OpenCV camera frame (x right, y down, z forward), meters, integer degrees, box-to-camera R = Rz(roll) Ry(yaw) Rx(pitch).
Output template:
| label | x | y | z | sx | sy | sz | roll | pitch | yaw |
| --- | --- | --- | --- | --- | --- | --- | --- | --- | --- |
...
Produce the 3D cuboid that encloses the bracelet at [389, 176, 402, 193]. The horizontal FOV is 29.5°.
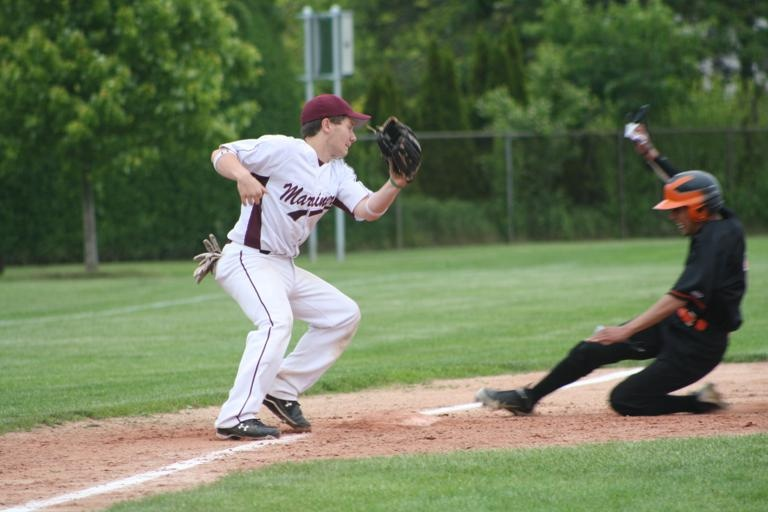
| label | x | y | z | sx | sy | sz | roll | pitch | yaw |
| --- | --- | --- | --- | --- | --- | --- | --- | --- | --- |
| bracelet | 0.127 | -0.826 | 17.146 | 0.139 | 0.159 | 0.148 | 16 | -46 | -35 |
